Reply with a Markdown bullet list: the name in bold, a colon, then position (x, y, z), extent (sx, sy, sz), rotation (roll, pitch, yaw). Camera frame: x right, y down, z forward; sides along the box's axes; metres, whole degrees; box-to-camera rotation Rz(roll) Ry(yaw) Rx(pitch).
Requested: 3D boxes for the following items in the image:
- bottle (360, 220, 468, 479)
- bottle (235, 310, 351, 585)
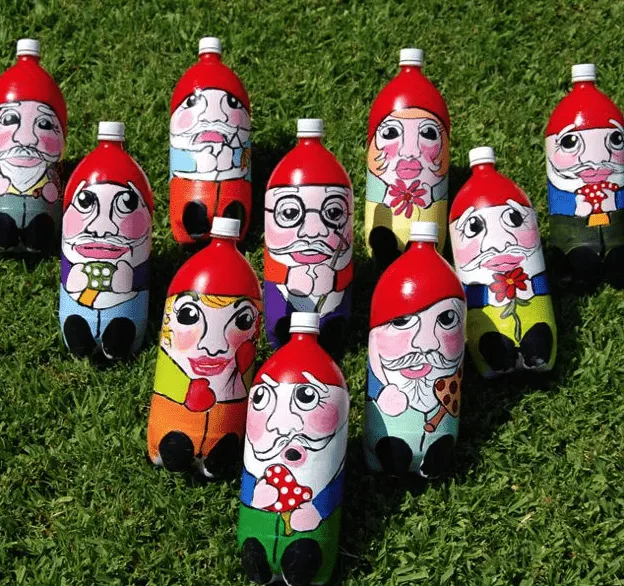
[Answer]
- **bottle**: position (0.317, 0.216, 2.348), extent (0.270, 0.645, 0.273), rotation (1, 17, 0)
- **bottle**: position (-0.049, 0.444, 2.198), extent (0.294, 0.706, 0.349), rotation (1, 17, 1)
